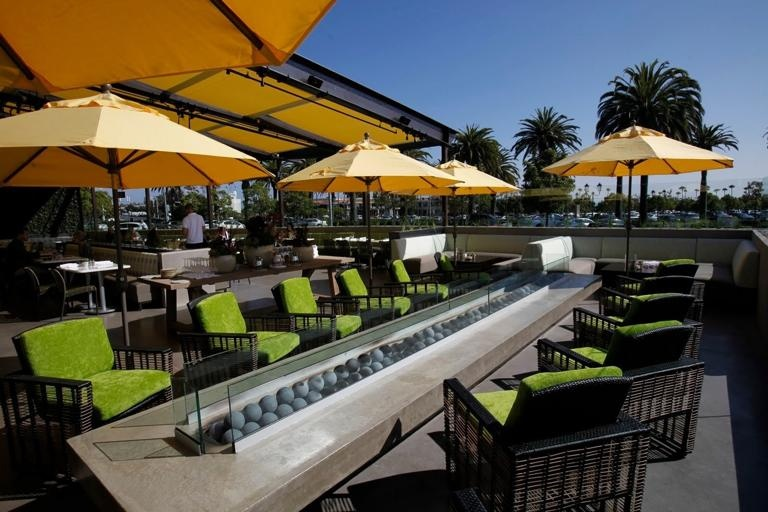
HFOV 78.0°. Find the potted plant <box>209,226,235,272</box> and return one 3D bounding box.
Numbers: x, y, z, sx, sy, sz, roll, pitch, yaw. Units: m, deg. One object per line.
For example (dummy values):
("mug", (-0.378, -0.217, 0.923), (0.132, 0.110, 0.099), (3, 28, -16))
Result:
("potted plant", (-2.263, -0.049, 6.439), (0.398, 0.580, 0.402), (9, 10, 32))

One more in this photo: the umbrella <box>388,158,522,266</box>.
("umbrella", (1.244, -1.151, 9.012), (2.253, 1.443, 2.240), (0, 7, 18))

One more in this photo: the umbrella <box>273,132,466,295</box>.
("umbrella", (-0.221, -0.919, 6.369), (1.754, 1.378, 1.679), (0, 18, 2))

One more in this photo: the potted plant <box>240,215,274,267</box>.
("potted plant", (-1.762, -0.194, 6.767), (0.500, 0.654, 0.498), (6, 6, 7))

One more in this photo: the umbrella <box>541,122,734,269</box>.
("umbrella", (3.597, -0.758, 6.733), (2.162, 2.091, 2.138), (1, 7, 35))

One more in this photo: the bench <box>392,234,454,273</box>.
("bench", (1.117, -0.010, 11.456), (0.787, 0.842, 2.561), (16, 13, 28))
